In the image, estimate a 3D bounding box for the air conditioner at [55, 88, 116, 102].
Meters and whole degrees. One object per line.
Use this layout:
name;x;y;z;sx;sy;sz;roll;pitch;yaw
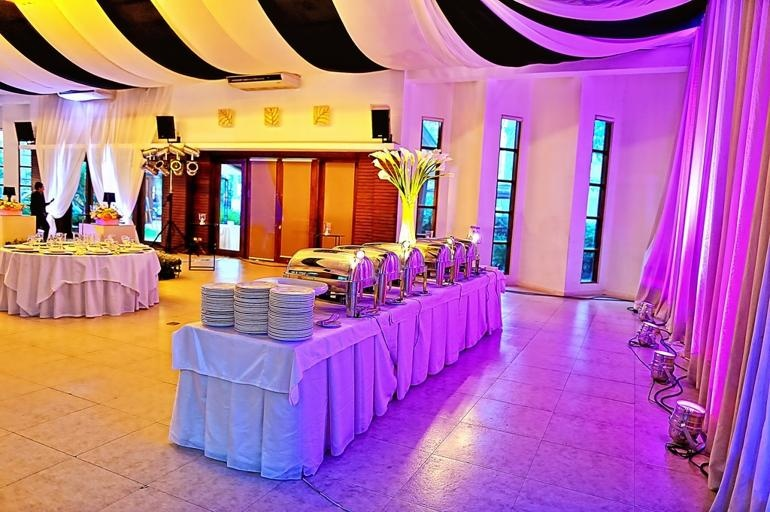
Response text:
air conditioner;-8.137;-4.331;14.138;1.582;0.219;0.627;2;7;20

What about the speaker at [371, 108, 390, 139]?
speaker;-0.090;-2.784;11.143;0.419;0.682;0.309;0;8;3

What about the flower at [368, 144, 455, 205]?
flower;0.293;-1.072;6.892;0.858;0.735;0.921;-1;8;-10

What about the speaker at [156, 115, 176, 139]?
speaker;-5.559;-3.261;13.249;0.663;0.629;0.329;0;8;16

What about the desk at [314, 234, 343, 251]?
desk;-1.299;-0.356;12.198;0.676;0.302;0.177;3;9;25

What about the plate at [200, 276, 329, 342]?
plate;-1.046;0.442;4.432;0.975;0.423;0.554;1;8;11

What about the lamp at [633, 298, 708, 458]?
lamp;3.166;1.423;5.912;0.673;0.327;2.316;0;16;13

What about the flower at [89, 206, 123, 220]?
flower;-5.663;-0.832;10.448;0.480;0.206;0.477;3;4;31
